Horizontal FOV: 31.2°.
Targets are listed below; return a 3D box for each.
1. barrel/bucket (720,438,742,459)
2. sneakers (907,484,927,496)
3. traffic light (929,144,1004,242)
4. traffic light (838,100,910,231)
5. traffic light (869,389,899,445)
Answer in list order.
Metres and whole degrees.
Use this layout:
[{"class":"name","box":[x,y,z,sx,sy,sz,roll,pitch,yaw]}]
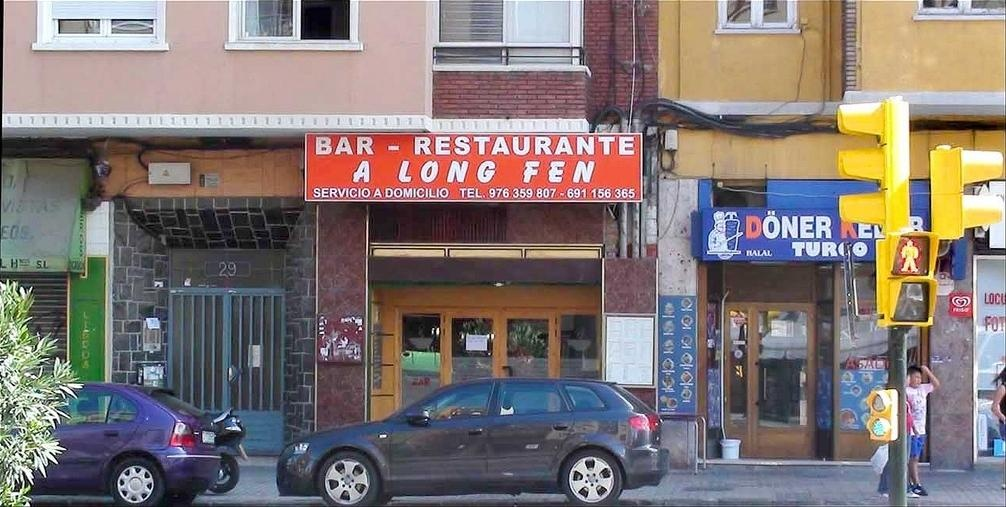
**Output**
[{"class":"barrel/bucket","box":[5.726,4.926,45.554,0.519,0.347,0.472,1,-9,0]},{"class":"sneakers","box":[9.796,5.565,42.783,0.559,0.220,0.195,14,-1,-11]},{"class":"traffic light","box":[9.656,-1.312,37.812,1.445,1.943,0.370,-1,-6,-5]},{"class":"traffic light","box":[7.781,-1.840,37.824,1.418,2.860,0.531,-2,-6,9]},{"class":"traffic light","box":[7.977,3.376,37.895,0.642,1.090,0.361,-2,-6,8]}]
